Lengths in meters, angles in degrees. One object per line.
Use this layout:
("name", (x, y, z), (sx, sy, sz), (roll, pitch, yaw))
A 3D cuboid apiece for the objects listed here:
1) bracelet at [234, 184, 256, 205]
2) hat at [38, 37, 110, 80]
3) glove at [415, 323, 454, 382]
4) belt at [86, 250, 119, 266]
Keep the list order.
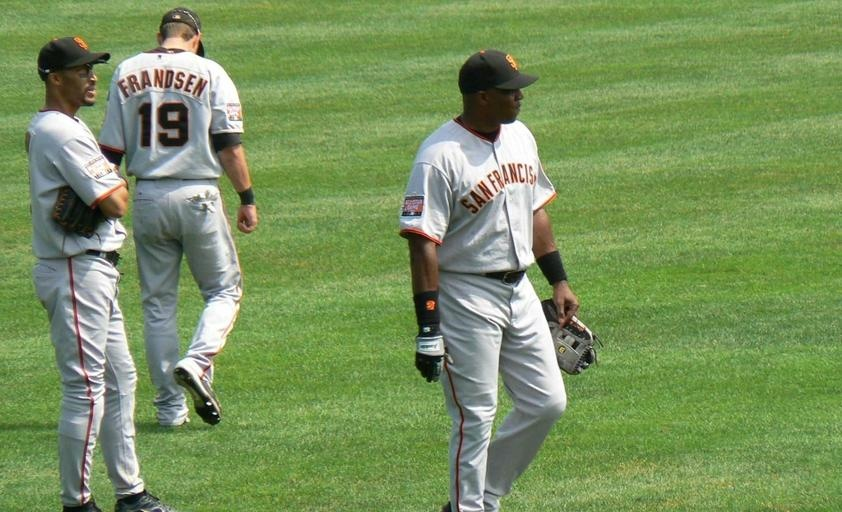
("bracelet", (-1.840, -0.653, 18.296), (0.228, 0.193, 0.211), (-8, 8, 45))
("hat", (-3.471, -1.978, 17.145), (0.668, 0.276, 0.434), (-13, 7, 2))
("glove", (0.049, 0.930, 16.789), (0.271, 0.466, 0.388), (-2, -8, -33))
("belt", (-3.126, -0.012, 17.073), (0.234, 0.073, 0.164), (14, 2, 16))
